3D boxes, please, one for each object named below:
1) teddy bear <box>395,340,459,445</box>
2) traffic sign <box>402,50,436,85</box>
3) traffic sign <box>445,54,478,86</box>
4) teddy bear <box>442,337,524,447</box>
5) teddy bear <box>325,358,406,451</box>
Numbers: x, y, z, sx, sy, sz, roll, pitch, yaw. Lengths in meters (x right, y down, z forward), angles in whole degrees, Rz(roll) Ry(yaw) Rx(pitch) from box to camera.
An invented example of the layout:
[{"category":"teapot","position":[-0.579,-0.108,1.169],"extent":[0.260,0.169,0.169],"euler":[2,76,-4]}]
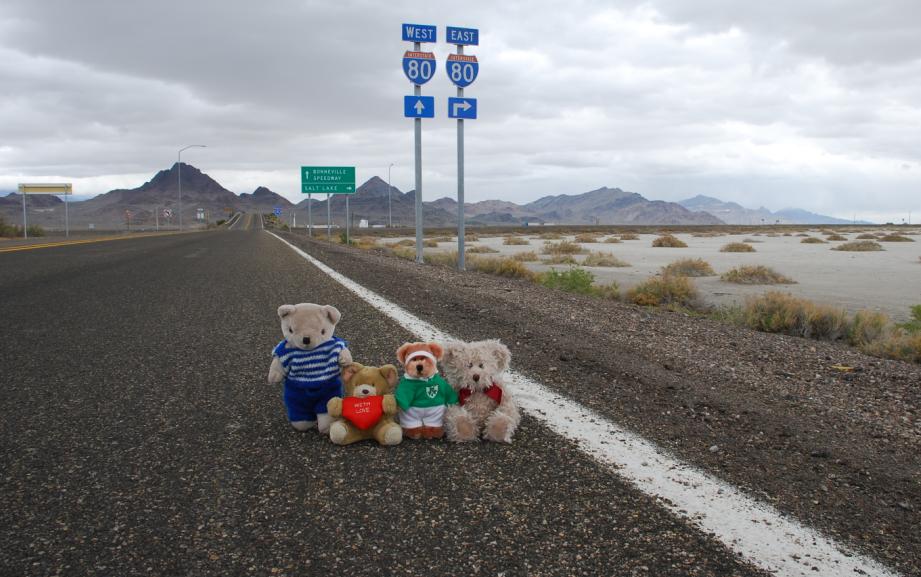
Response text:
[{"category":"teddy bear","position":[-0.273,0.907,5.303],"extent":[0.632,0.872,0.461],"euler":[-3,-27,-7]},{"category":"traffic sign","position":[-1.113,-6.144,17.270],"extent":[0.794,0.865,0.700],"euler":[-3,14,-14]},{"category":"traffic sign","position":[0.072,-5.593,15.890],"extent":[0.788,0.827,0.670],"euler":[-6,15,-25]},{"category":"teddy bear","position":[0.154,0.891,5.580],"extent":[0.816,1.051,0.748],"euler":[0,-9,-5]},{"category":"teddy bear","position":[-0.800,0.960,5.297],"extent":[0.606,0.668,0.520],"euler":[1,2,-1]}]
